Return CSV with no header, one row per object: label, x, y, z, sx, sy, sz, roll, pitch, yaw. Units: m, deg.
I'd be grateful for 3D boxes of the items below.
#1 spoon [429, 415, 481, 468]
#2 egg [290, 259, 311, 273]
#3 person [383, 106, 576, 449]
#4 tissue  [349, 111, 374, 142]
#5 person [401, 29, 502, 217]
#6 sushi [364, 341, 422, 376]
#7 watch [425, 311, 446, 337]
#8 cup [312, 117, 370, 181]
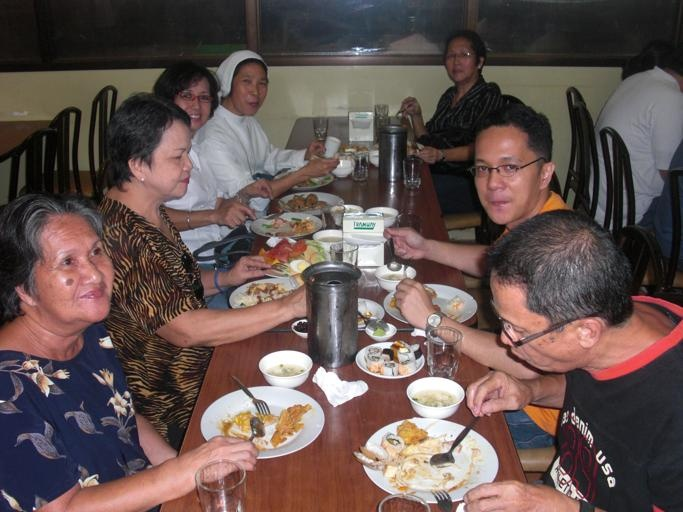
spoon,0.315,0.498,1.462,0.054,0.034,0.239,20,27,33
egg,-0.183,0.042,2.331,0.068,0.020,0.067,-10,44,-10
person,0.657,0.126,2.401,0.937,1.466,0.803,-4,13,-16
tissue ,0.142,-1.016,4.246,0.220,0.210,0.220,0,16,2
person,1.065,-1.012,4.662,0.864,1.728,0.830,2,24,-3
sushi,0.160,0.327,1.799,0.179,0.081,0.191,-11,20,-41
watch,0.309,0.232,1.813,0.062,0.040,0.075,2,60,8
cup,0.048,-0.800,4.099,0.439,0.504,0.588,1,23,-1
